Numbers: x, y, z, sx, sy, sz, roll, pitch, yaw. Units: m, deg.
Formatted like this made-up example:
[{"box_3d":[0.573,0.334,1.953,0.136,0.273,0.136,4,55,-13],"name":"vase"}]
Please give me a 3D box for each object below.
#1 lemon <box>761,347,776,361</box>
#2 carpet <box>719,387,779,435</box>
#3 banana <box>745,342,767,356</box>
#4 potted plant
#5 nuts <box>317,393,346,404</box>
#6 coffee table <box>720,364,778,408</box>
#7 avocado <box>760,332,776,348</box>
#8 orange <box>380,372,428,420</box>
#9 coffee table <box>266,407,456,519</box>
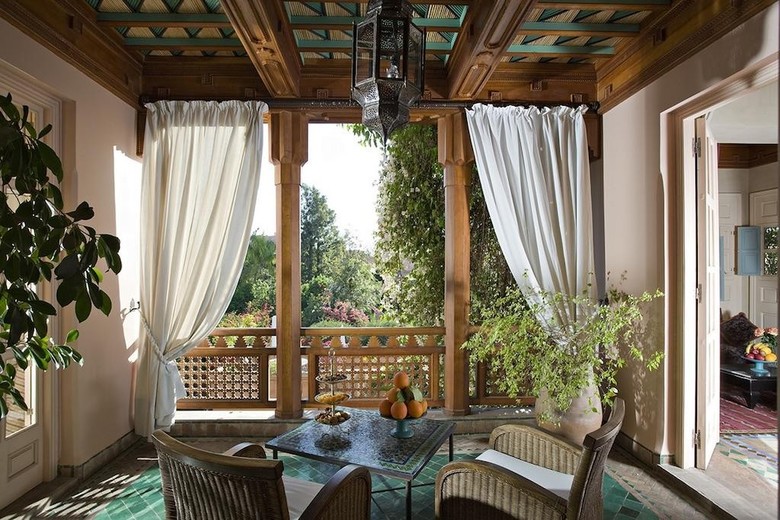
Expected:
[{"box_3d":[4.390,1.094,6.534,0.119,0.162,0.076,-17,8,21],"name":"lemon"},{"box_3d":[3.963,1.683,6.242,0.534,0.231,1.398,-4,-6,31],"name":"carpet"},{"box_3d":[4.361,1.050,6.715,0.186,0.094,0.223,-2,4,38],"name":"banana"},{"box_3d":[1.772,0.900,5.732,1.830,1.978,1.446,2,-6,-12],"name":"potted plant"},{"box_3d":[-0.481,1.159,4.732,0.244,0.114,0.276,-1,-5,-3],"name":"nuts"},{"box_3d":[4.132,1.376,6.427,0.440,0.246,0.667,0,-1,8],"name":"coffee table"},{"box_3d":[4.592,0.964,6.851,0.134,0.054,0.140,-6,5,16],"name":"avocado"},{"box_3d":[0.125,1.103,4.600,0.352,0.289,0.370,-1,-6,9],"name":"orange"},{"box_3d":[-0.100,1.366,4.645,0.913,0.632,0.983,0,0,27],"name":"coffee table"}]
